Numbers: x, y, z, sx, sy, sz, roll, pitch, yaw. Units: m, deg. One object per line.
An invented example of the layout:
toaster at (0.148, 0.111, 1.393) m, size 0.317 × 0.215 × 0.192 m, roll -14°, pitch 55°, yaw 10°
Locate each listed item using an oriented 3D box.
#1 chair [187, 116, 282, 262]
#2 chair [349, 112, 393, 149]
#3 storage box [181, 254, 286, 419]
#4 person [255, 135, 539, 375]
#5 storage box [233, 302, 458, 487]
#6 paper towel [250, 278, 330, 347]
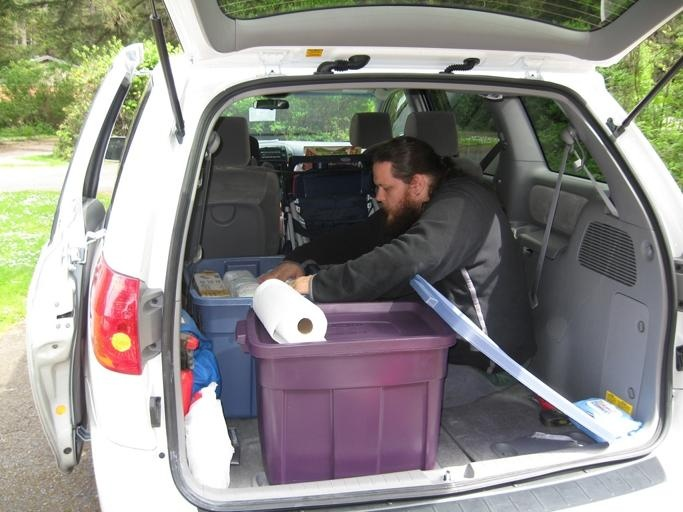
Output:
chair at (-0.668, -0.460, 3.672) m, size 0.475 × 0.511 × 0.927 m, roll -1°, pitch 109°, yaw -20°
chair at (0.219, -1.019, 4.382) m, size 0.352 × 0.269 × 0.319 m, roll -1°, pitch 89°, yaw -9°
storage box at (-0.517, 0.408, 2.890) m, size 0.786 × 0.610 × 0.734 m, roll -2°, pitch 109°, yaw -25°
person at (0.276, 0.023, 2.972) m, size 1.424 × 1.075 × 1.366 m, roll 1°, pitch 88°, yaw -12°
storage box at (0.008, 0.324, 2.155) m, size 0.967 × 0.633 × 0.676 m, roll -1°, pitch 101°, yaw -10°
paper towel at (-0.197, 0.201, 2.117) m, size 0.266 × 0.412 × 0.215 m, roll 2°, pitch 107°, yaw -2°
